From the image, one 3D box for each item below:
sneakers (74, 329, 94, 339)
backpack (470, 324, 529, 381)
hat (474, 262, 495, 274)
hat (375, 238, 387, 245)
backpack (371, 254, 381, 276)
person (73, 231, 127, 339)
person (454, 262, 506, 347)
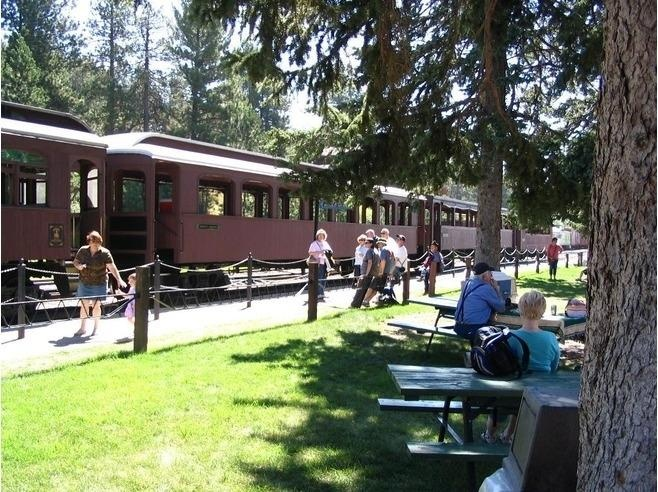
[{"bbox_3d":[-4.011,1.450,9.958,0.356,0.182,0.136,5,-5,-1],"label":"sneakers"},{"bbox_3d":[1.573,1.023,5.521,0.500,0.550,0.406,-21,-34,28],"label":"backpack"},{"bbox_3d":[2.002,0.289,7.852,0.271,0.171,0.164,-15,15,-39],"label":"hat"},{"bbox_3d":[1.155,-0.078,13.430,0.206,0.143,0.404,2,6,7],"label":"hat"},{"bbox_3d":[0.981,0.435,12.797,0.216,0.358,0.343,2,-12,-1],"label":"backpack"},{"bbox_3d":[-3.710,0.639,9.856,0.797,1.754,0.653,5,12,-5],"label":"person"},{"bbox_3d":[2.052,0.898,8.100,0.734,1.374,0.521,6,-3,-25],"label":"person"}]
